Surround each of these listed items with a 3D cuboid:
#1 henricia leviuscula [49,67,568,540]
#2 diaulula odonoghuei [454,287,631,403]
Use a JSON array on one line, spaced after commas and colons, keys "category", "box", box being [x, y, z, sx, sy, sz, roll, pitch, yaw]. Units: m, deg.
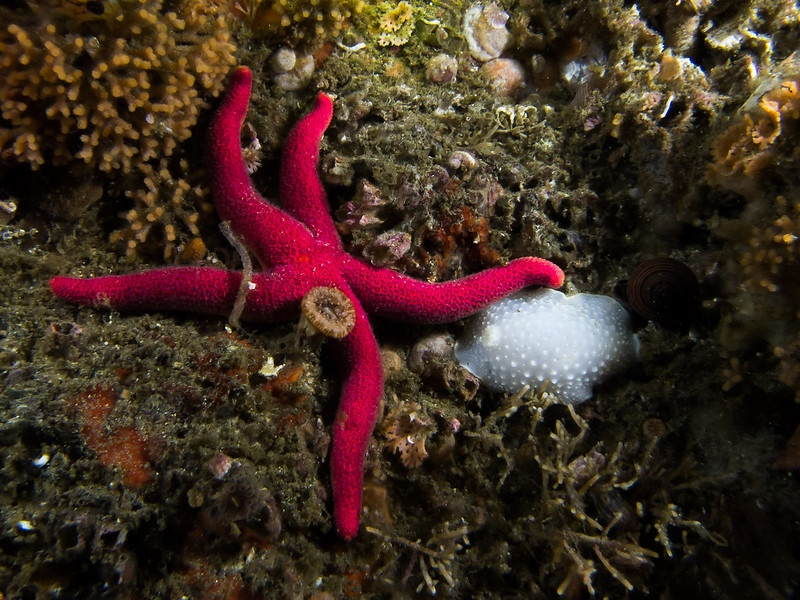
[{"category": "henricia leviuscula", "box": [-0.621, -0.200, 5.006, 2.829, 0.427, 2.986, -9, 79, -18]}, {"category": "diaulula odonoghuei", "box": [0.954, 0.311, 5.336, 0.937, 0.230, 0.728, -20, 84, 5]}]
